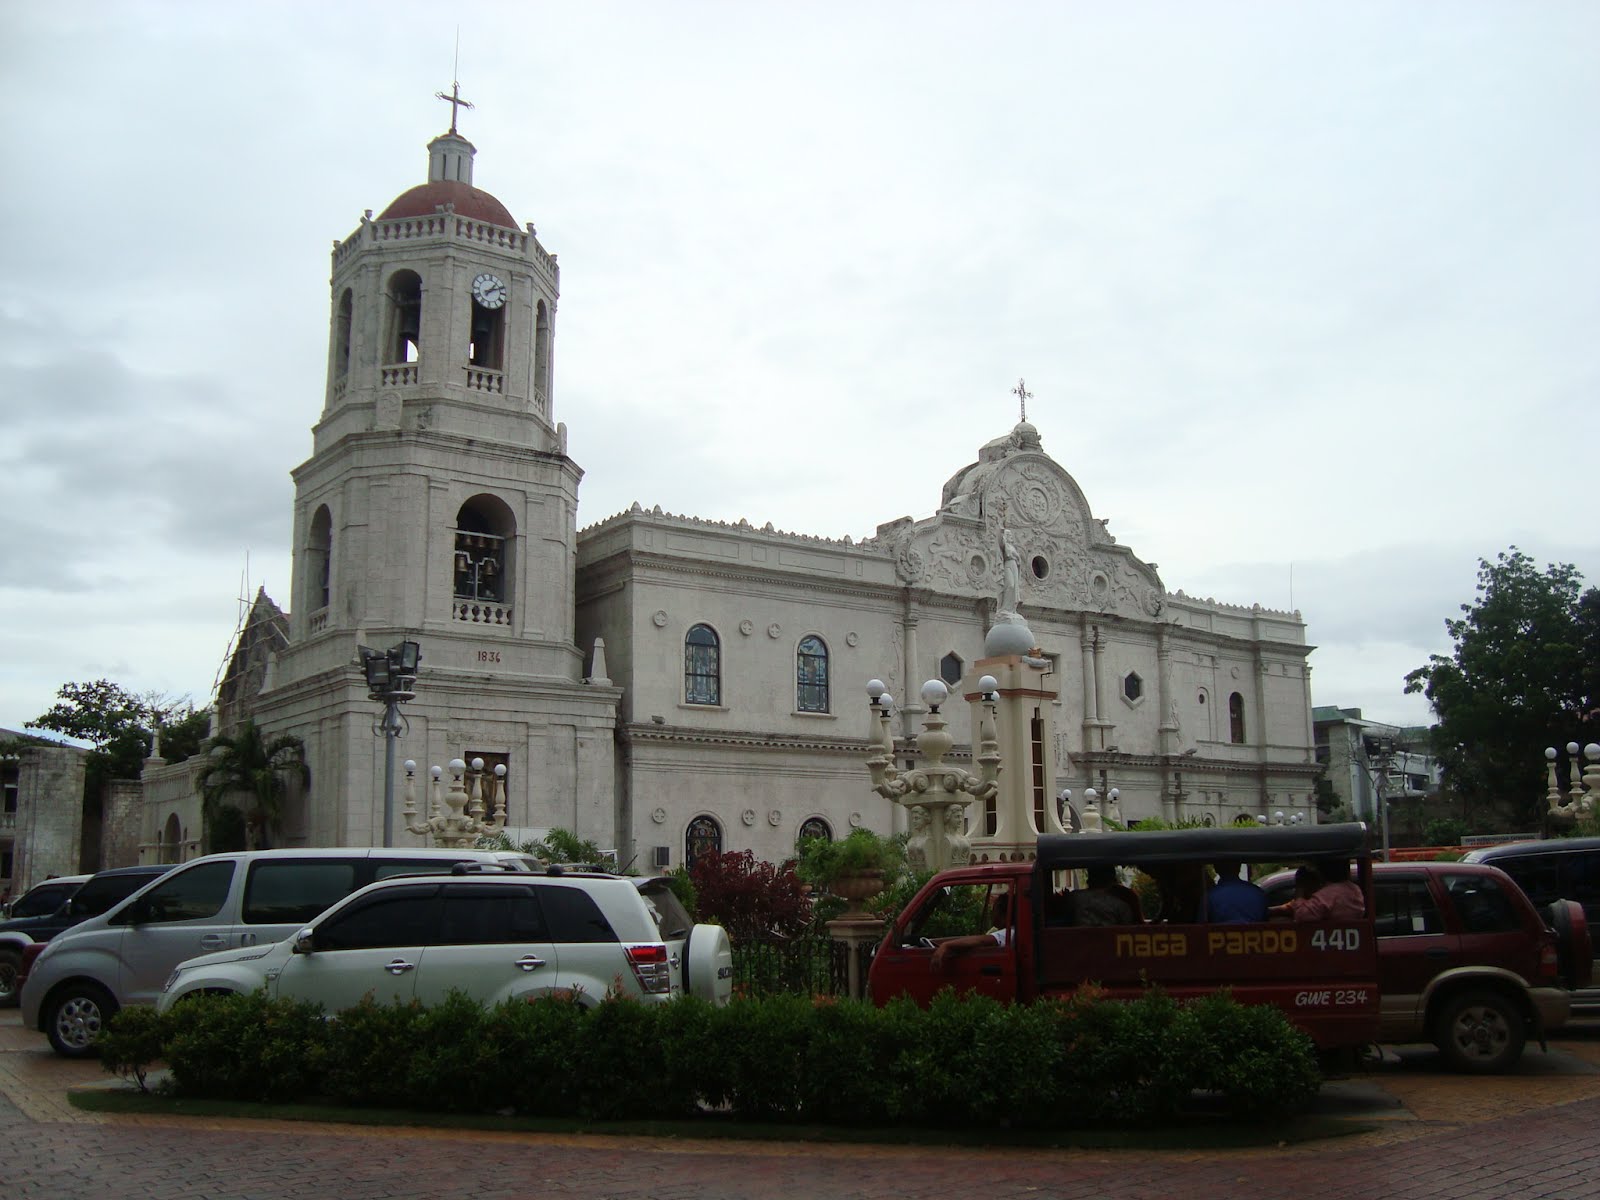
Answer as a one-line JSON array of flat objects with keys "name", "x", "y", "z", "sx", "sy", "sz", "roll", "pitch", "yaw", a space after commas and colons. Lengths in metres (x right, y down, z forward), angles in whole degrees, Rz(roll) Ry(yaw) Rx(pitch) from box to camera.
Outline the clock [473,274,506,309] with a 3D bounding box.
[{"name": "clock", "x": -8.768, "y": -8.926, "z": 45.731, "sx": 0.844, "sy": 0.812, "sz": 0.213, "roll": -16, "pitch": 23, "yaw": -20}]

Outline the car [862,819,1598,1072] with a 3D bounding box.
[{"name": "car", "x": 4.920, "y": 3.829, "z": 17.530, "sx": 7.247, "sy": 2.735, "sz": 2.772, "roll": 0, "pitch": -12, "yaw": -12}]

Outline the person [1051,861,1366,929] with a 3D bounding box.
[{"name": "person", "x": 4.371, "y": 3.081, "z": 17.148, "sx": 3.178, "sy": 0.655, "sz": 1.390, "roll": -6, "pitch": -12, "yaw": 16}]

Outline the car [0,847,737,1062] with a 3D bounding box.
[{"name": "car", "x": -5.215, "y": 3.913, "z": 18.602, "sx": 8.765, "sy": 2.385, "sz": 2.804, "roll": -5, "pitch": -12, "yaw": 10}]
